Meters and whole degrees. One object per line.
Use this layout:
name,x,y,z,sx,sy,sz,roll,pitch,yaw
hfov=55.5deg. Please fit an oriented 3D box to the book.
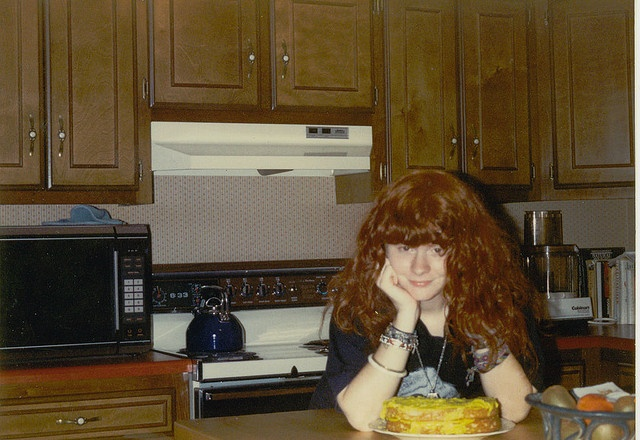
book,1.454,0.350,3.092,0.288,0.461,0.148,0,2,8

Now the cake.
cake,0.287,0.465,1.435,0.264,0.047,0.081,-2,-1,4

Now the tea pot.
tea pot,-0.466,0.442,2.719,0.261,0.280,0.345,-1,-1,-8

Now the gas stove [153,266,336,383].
gas stove,-0.306,0.288,2.767,0.774,0.726,0.436,2,-7,-21

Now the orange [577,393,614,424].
orange,0.572,0.391,1.257,0.060,0.032,0.046,4,-5,-23
